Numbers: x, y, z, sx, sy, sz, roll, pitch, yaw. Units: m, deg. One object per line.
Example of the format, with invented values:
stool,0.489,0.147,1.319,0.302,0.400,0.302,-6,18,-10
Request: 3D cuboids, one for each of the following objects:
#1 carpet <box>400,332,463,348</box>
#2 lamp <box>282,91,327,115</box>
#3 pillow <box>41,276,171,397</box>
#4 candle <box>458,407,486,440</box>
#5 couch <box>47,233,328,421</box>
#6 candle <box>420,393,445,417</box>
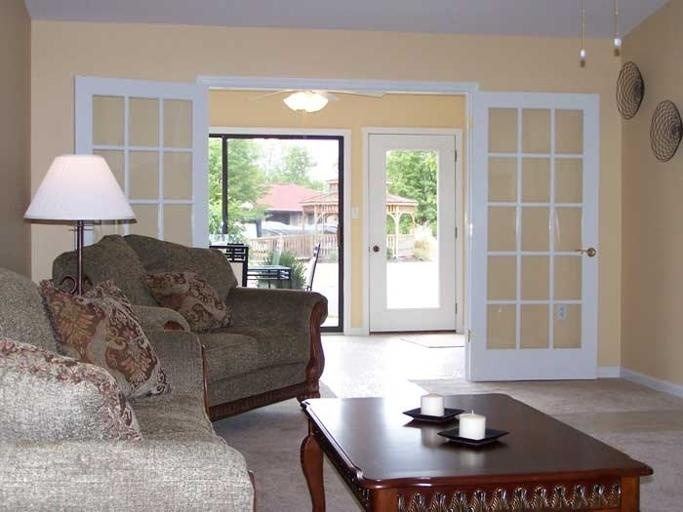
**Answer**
carpet,0.984,0.871,7.017,0.698,0.011,0.911,-1,3,-2
lamp,-0.331,-1.521,6.527,0.406,0.179,0.209,0,3,4
pillow,-0.923,0.323,2.616,0.138,0.473,0.463,-30,-19,23
candle,0.457,0.578,2.338,0.076,0.092,0.079,3,7,20
couch,-0.876,0.423,4.023,0.992,1.109,1.705,-4,-2,21
candle,0.349,0.568,2.559,0.074,0.077,0.076,3,9,16
